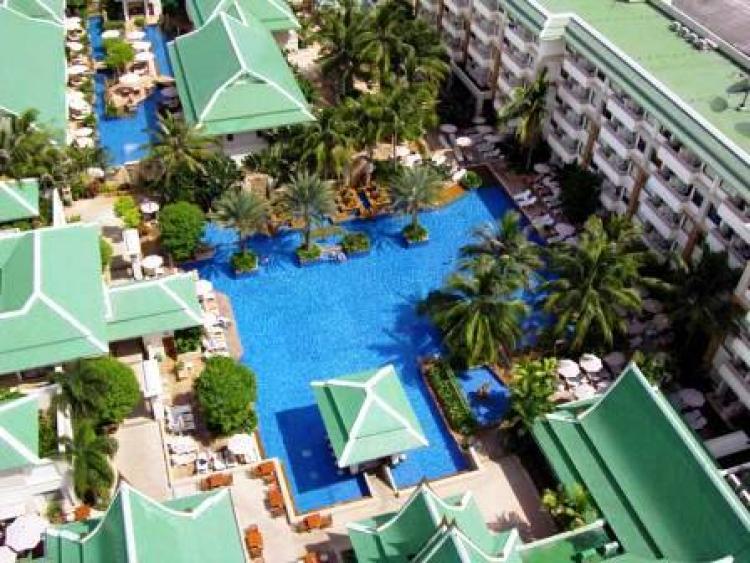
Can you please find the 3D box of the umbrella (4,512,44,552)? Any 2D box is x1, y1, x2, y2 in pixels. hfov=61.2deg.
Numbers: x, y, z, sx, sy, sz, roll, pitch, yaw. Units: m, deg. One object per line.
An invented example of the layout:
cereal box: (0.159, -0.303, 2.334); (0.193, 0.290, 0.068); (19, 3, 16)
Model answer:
umbrella: (-20.619, 15.063, 37.465); (2.135, 1.591, 1.751); (-11, 41, -17)
